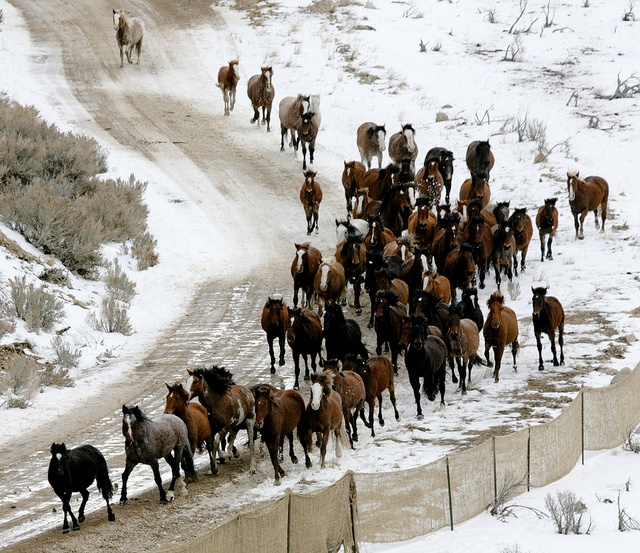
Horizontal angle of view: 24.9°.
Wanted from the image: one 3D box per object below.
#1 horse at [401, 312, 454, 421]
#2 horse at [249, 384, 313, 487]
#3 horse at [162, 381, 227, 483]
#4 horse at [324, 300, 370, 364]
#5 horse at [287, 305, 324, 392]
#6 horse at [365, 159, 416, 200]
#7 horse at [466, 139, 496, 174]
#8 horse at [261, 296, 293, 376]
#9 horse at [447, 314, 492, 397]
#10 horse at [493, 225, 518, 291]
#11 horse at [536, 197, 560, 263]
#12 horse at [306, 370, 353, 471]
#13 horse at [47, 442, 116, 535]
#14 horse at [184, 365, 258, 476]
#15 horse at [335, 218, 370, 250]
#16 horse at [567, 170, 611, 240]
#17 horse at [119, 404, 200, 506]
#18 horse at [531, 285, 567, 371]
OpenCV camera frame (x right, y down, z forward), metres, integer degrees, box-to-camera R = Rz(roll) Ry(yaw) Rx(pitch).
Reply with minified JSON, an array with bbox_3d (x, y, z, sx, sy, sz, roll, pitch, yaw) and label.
[{"bbox_3d":[2.879,2.269,39.227,1.248,2.708,0.617,-14,16,-37],"label":"horse"},{"bbox_3d":[-0.993,3.867,37.030,1.444,2.279,0.940,-12,15,-31],"label":"horse"},{"bbox_3d":[-3.281,4.048,37.174,0.694,2.487,2.597,-3,-8,19],"label":"horse"},{"bbox_3d":[0.633,1.756,40.419,0.580,1.877,2.574,7,-2,25],"label":"horse"},{"bbox_3d":[-0.392,1.924,40.523,0.557,2.078,2.507,2,3,18],"label":"horse"},{"bbox_3d":[2.250,-3.215,47.741,0.678,1.823,2.546,-3,13,-12],"label":"horse"},{"bbox_3d":[5.451,-4.091,49.644,0.824,1.379,1.279,-4,14,2],"label":"horse"},{"bbox_3d":[-1.235,1.557,41.022,0.754,2.071,1.036,-4,13,-2],"label":"horse"},{"bbox_3d":[3.949,1.878,40.120,0.735,2.551,1.545,2,15,25],"label":"horse"},{"bbox_3d":[5.641,-0.759,44.530,0.716,2.221,1.420,-2,14,9],"label":"horse"},{"bbox_3d":[7.150,-1.568,45.764,0.654,2.105,1.130,-2,13,8],"label":"horse"},{"bbox_3d":[0.143,3.603,37.175,0.944,2.496,0.559,-12,15,-31],"label":"horse"},{"bbox_3d":[-5.936,5.084,35.676,0.574,2.246,2.601,1,3,22],"label":"horse"},{"bbox_3d":[-2.484,3.805,37.720,0.792,3.044,3.058,0,0,30],"label":"horse"},{"bbox_3d":[0.937,-1.508,45.157,0.440,1.158,1.795,-1,8,10],"label":"horse"},{"bbox_3d":[8.517,-2.332,46.476,1.602,2.295,0.670,-15,17,-38],"label":"horse"},{"bbox_3d":[-4.063,4.470,36.327,0.737,2.583,3.160,1,-2,30],"label":"horse"},{"bbox_3d":[6.345,1.326,40.383,0.867,2.255,0.876,-4,13,0],"label":"horse"}]
